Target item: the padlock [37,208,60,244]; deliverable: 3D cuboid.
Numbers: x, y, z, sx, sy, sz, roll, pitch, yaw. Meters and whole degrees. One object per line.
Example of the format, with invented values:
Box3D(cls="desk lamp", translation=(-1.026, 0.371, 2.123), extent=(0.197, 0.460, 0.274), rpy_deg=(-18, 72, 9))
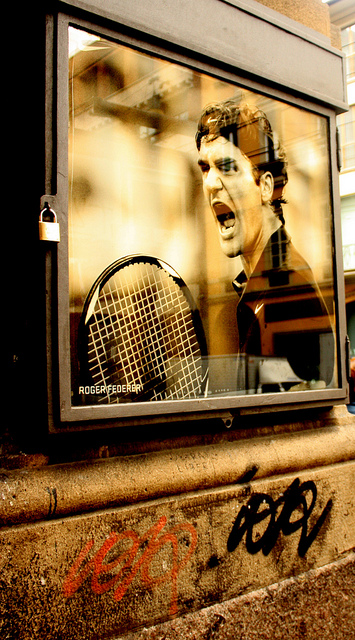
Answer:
Box3D(cls="padlock", translation=(-0.363, -0.266, 1.600), extent=(0.060, 0.101, 0.041), rpy_deg=(-3, 4, -10))
